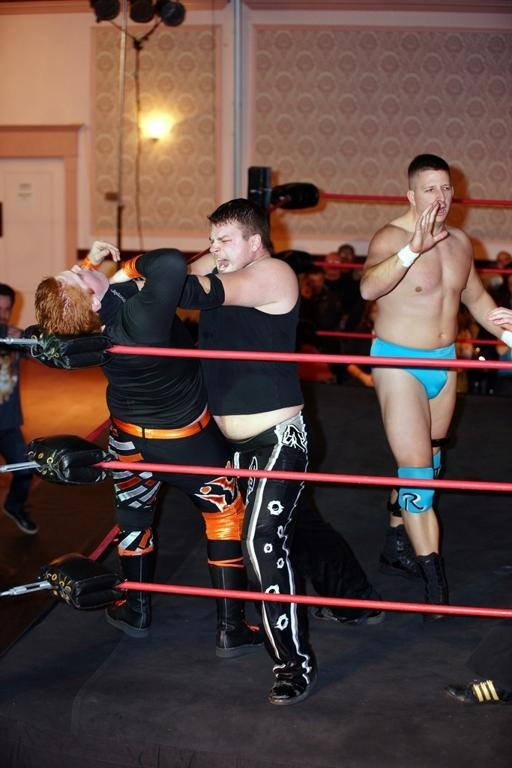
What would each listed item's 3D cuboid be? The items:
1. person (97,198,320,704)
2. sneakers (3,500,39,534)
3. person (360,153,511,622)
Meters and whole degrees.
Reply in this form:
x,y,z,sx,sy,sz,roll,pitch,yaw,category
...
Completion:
x,y,z,sx,sy,sz,roll,pitch,yaw,category
0.010,0.117,1.500,0.280,1.041,0.447,0,9,5,person
-1.010,0.576,2.910,0.153,0.058,0.051,39,20,-3,sneakers
0.466,-0.005,1.799,0.377,1.193,0.617,0,9,8,person
